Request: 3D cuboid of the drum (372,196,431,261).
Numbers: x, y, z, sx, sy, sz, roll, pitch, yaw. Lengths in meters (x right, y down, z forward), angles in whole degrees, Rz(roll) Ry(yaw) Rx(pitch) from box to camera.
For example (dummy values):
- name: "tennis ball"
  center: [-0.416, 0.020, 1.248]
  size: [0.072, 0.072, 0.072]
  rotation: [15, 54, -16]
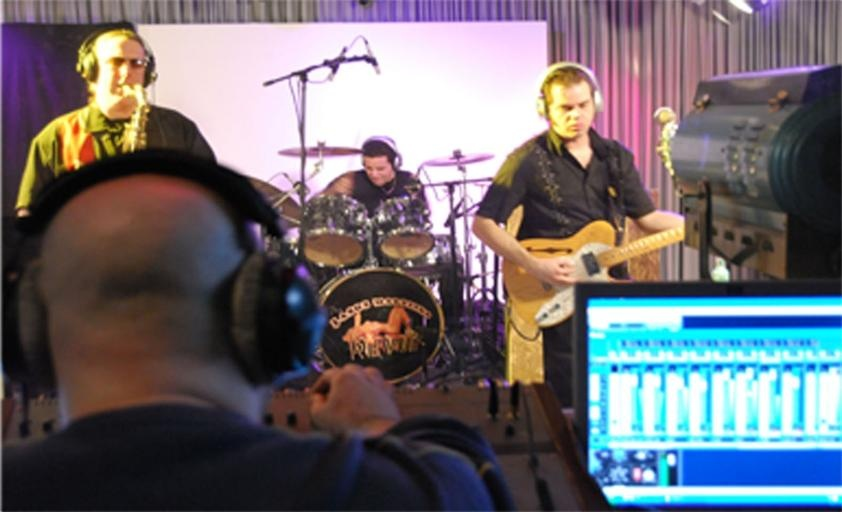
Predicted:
- name: "drum"
  center: [-0.121, -0.178, 5.558]
  size: [0.407, 0.423, 0.418]
  rotation: [0, -9, -2]

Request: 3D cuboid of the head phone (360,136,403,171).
- name: "head phone"
  center: [-0.290, -0.725, 5.823]
  size: [0.316, 0.271, 0.125]
  rotation: [1, 52, 11]

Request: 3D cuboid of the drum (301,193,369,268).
- name: "drum"
  center: [-0.544, -0.173, 5.392]
  size: [0.466, 0.447, 0.362]
  rotation: [0, 46, -5]

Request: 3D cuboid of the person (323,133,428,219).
- name: "person"
  center: [-0.326, -0.527, 5.773]
  size: [0.741, 0.540, 0.395]
  rotation: [4, 30, 5]

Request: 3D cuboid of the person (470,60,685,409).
- name: "person"
  center: [0.925, 0.130, 4.576]
  size: [1.116, 2.305, 0.754]
  rotation: [-5, 22, 1]

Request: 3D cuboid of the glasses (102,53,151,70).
- name: "glasses"
  center: [-1.682, -1.121, 4.736]
  size: [0.235, 0.071, 0.055]
  rotation: [-10, 8, -44]

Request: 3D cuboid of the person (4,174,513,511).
- name: "person"
  center: [-0.481, 0.197, 2.307]
  size: [0.947, 0.575, 0.947]
  rotation: [-3, -2, 7]

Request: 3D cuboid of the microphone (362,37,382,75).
- name: "microphone"
  center: [-0.315, -1.305, 5.353]
  size: [0.138, 0.116, 0.696]
  rotation: [-22, 23, 0]
